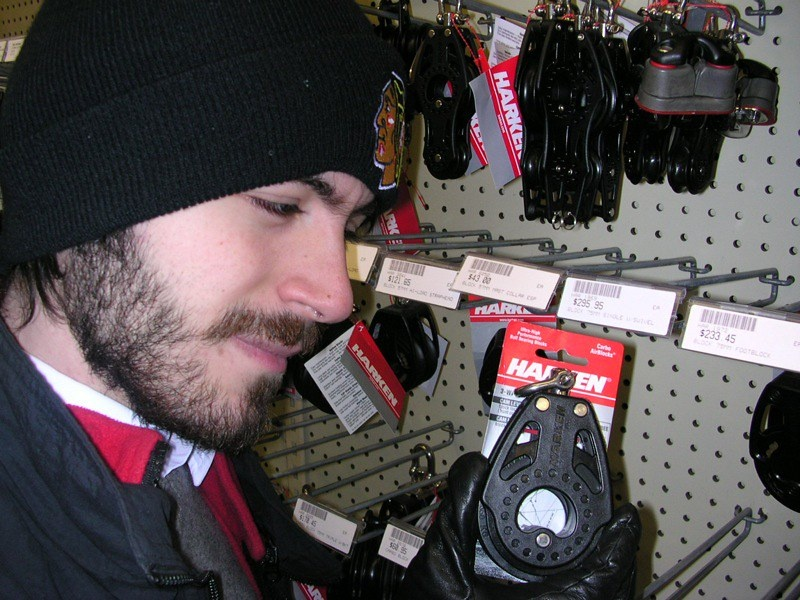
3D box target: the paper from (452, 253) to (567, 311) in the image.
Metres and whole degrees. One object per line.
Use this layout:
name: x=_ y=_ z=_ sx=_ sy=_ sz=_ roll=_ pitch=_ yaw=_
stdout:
paper: x=0.198 y=-0.032 z=1.319 sx=0.168 sy=0.027 sz=0.097 roll=19 pitch=87 yaw=27

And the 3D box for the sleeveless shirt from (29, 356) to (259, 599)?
sleeveless shirt: x=-0.443 y=0.222 z=1.312 sx=0.308 sy=0.473 sz=0.124 roll=-28 pitch=25 yaw=8

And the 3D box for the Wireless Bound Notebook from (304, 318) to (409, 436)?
Wireless Bound Notebook: x=-0.098 y=0.176 z=1.710 sx=0.204 sy=0.285 sz=0.091 roll=-42 pitch=28 yaw=-16

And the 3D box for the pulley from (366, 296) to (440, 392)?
pulley: x=0.020 y=0.114 z=1.850 sx=0.150 sy=0.232 sz=0.126 roll=20 pitch=26 yaw=40

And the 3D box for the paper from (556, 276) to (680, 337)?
paper: x=0.386 y=0.006 z=1.250 sx=0.204 sy=0.074 sz=0.077 roll=15 pitch=60 yaw=16
